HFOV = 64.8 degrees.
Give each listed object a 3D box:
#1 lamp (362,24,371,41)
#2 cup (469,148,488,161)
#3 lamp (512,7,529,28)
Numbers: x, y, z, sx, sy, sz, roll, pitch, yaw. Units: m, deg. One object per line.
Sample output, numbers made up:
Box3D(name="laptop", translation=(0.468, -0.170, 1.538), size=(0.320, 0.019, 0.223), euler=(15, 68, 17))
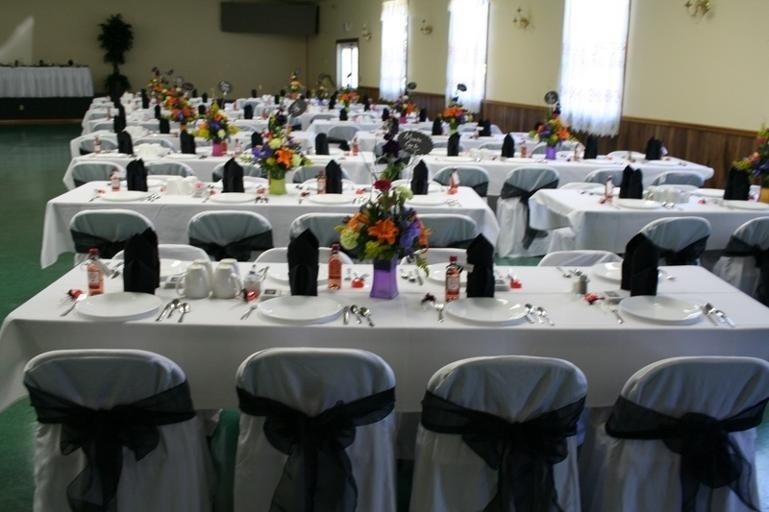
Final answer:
Box3D(name="lamp", translation=(-0.508, -6.505, 17.670), size=(0.157, 0.432, 0.732), euler=(-1, 14, -14))
Box3D(name="cup", translation=(1.102, -1.194, 7.158), size=(0.142, 0.096, 0.227), euler=(0, 12, 3))
Box3D(name="lamp", translation=(2.542, -4.412, 11.305), size=(0.125, 0.389, 0.328), euler=(-4, 7, -35))
